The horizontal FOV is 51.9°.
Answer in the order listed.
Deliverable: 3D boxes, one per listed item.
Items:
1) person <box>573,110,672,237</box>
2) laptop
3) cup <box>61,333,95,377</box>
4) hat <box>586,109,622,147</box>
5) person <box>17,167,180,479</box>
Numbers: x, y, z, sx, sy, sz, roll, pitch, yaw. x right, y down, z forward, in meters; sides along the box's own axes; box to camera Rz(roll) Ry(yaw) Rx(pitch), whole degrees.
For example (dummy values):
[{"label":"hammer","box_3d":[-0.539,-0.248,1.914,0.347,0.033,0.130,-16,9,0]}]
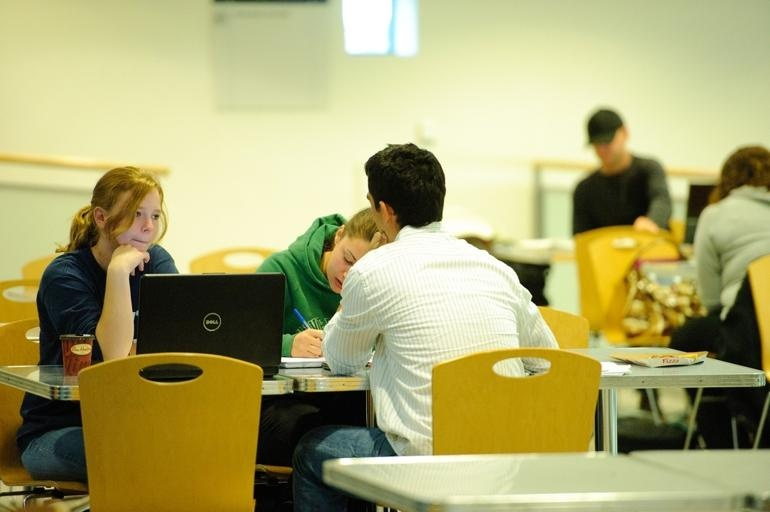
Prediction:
[{"label":"person","box_3d":[1.394,-0.492,4.526,0.366,0.709,0.576,-4,6,-32]},{"label":"laptop","box_3d":[-0.546,0.168,2.479,0.480,0.317,0.323,2,2,-13]},{"label":"cup","box_3d":[-0.932,0.301,2.398,0.133,0.128,0.129,0,-7,0]},{"label":"hat","box_3d":[1.314,-0.789,4.680,0.234,0.136,0.182,-44,11,-37]},{"label":"person","box_3d":[-0.979,0.199,2.740,0.413,1.017,0.608,3,6,36]}]
